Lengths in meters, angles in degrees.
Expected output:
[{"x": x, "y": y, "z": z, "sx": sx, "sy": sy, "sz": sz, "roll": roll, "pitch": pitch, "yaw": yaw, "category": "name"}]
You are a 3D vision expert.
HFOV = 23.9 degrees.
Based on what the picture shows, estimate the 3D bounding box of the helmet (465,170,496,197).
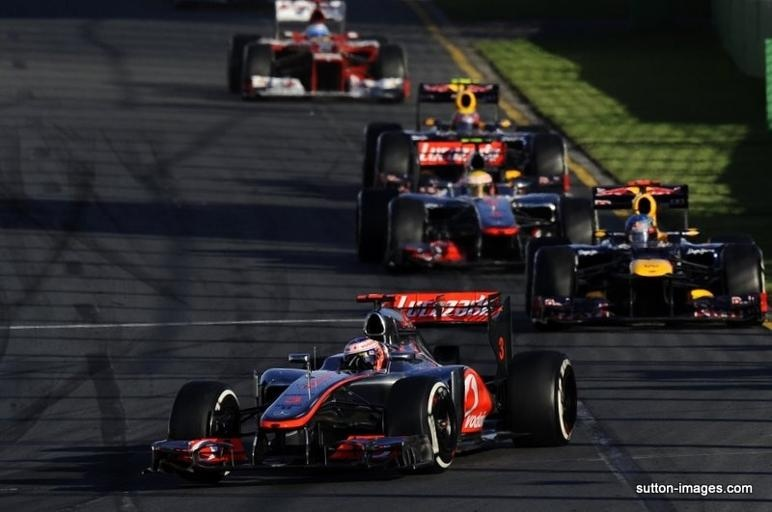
[{"x": 1.922, "y": -1.505, "z": 38.263, "sx": 0.520, "sy": 0.445, "sz": 0.601, "roll": -2, "pitch": 1, "yaw": -8, "category": "helmet"}]

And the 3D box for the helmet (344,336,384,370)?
[{"x": -0.378, "y": 1.590, "z": 29.373, "sx": 0.705, "sy": 0.437, "sz": 0.442, "roll": 0, "pitch": 27, "yaw": 0, "category": "helmet"}]

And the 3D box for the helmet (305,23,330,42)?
[{"x": -1.839, "y": -5.829, "z": 47.462, "sx": 0.597, "sy": 0.181, "sz": 0.535, "roll": -3, "pitch": 23, "yaw": -6, "category": "helmet"}]

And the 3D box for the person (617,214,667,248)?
[{"x": 4.862, "y": -0.445, "z": 34.747, "sx": 0.894, "sy": 0.739, "sz": 0.460, "roll": -7, "pitch": 30, "yaw": -17, "category": "person"}]

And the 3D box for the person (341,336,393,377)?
[{"x": -0.372, "y": 1.585, "z": 29.570, "sx": 0.901, "sy": 0.572, "sz": 0.625, "roll": -4, "pitch": 8, "yaw": -38, "category": "person"}]

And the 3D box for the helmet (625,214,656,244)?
[{"x": 4.800, "y": -0.501, "z": 34.629, "sx": 0.617, "sy": 0.603, "sz": 0.371, "roll": 2, "pitch": 6, "yaw": 19, "category": "helmet"}]
